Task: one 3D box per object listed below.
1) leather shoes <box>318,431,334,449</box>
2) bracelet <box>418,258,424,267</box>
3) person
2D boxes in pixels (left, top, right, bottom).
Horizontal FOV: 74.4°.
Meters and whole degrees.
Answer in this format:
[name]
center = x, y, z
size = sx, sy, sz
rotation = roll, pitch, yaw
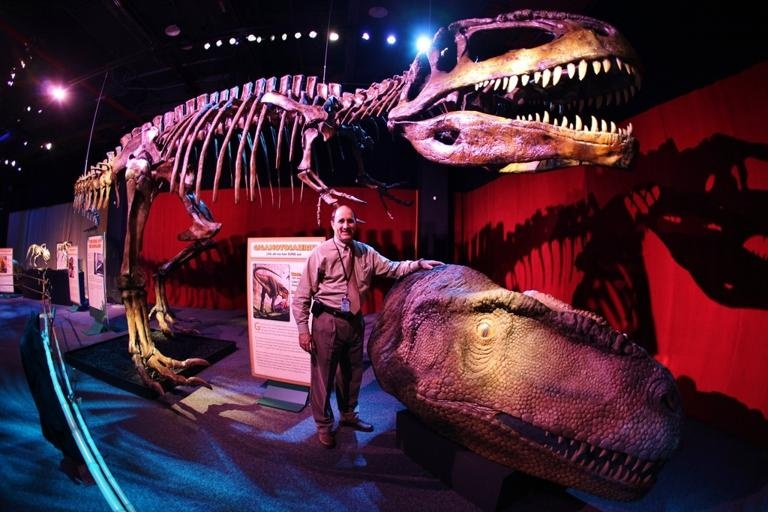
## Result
[leather shoes]
center = -0.551, 1.815, 5.051
size = 0.170, 0.171, 0.133
rotation = 2, 4, -23
[bracelet]
center = 0.381, 0.079, 5.068
size = 0.072, 0.068, 0.066
rotation = 6, 4, 29
[person]
center = -0.387, 0.693, 5.162
size = 1.086, 2.380, 0.418
rotation = 3, 3, -11
